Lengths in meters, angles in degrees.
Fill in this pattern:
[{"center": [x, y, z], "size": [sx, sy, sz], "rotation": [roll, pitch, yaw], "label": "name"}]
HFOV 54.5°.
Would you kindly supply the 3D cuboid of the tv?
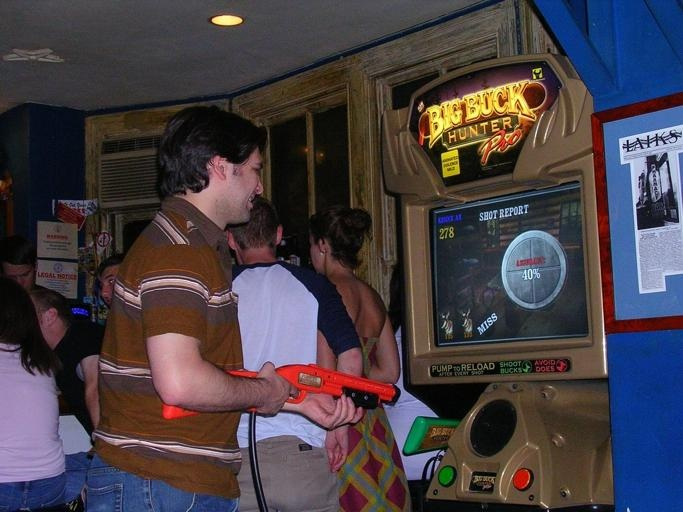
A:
[{"center": [0.659, 0.032, 2.501], "size": [0.553, 0.525, 0.064], "rotation": [-5, -4, 31], "label": "tv"}]
